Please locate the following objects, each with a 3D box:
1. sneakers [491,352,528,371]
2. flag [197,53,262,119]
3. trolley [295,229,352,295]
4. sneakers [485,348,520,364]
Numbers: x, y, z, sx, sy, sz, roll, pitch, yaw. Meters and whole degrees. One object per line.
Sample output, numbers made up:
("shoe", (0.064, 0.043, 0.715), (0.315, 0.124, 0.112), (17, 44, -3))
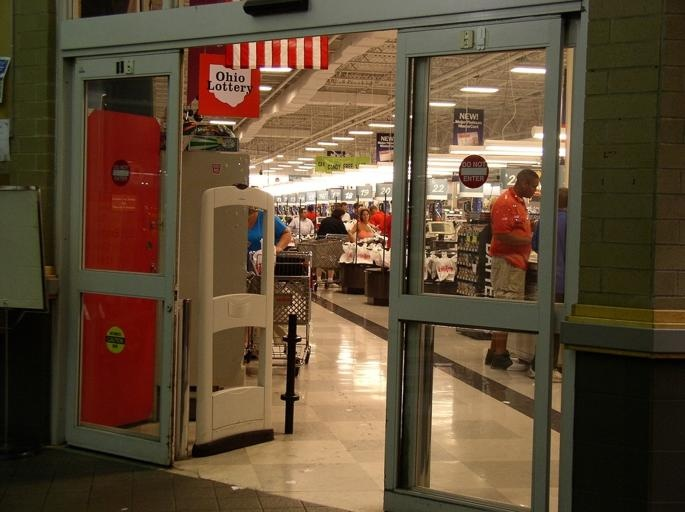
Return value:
("sneakers", (0.984, 0.622, 4.141), (0.205, 0.111, 0.081), (-1, 0, 1))
("flag", (-1.128, -1.665, 6.852), (0.787, 0.918, 0.087), (-1, 6, -37))
("trolley", (-0.245, 0.121, 15.031), (0.985, 1.110, 0.659), (-2, 8, -18))
("sneakers", (0.946, 0.601, 4.165), (0.178, 0.136, 0.067), (-2, 5, -19))
